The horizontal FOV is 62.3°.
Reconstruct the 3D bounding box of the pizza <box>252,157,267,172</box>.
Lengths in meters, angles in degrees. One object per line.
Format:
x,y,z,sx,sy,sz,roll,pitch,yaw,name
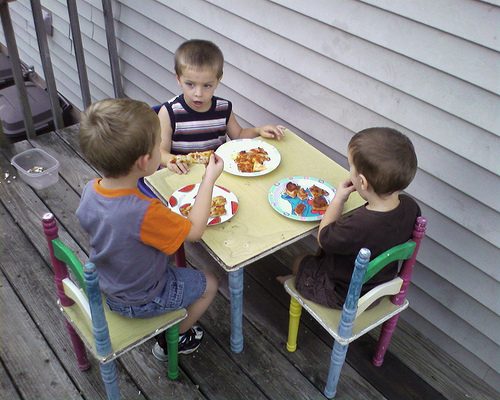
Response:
0.050,-0.192,2.289,0.075,0.027,0.098,3,37,-8,pizza

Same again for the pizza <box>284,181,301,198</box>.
0.220,-0.057,2.153,0.072,0.040,0.092,18,37,12,pizza

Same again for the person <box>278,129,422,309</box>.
0.464,0.162,2.016,0.578,1.021,0.426,27,39,26,person

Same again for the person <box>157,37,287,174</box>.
-0.247,-0.486,2.590,0.737,0.997,0.581,-15,40,-19,person

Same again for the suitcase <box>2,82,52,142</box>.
-2.522,-0.987,4.648,0.500,0.408,0.635,-14,42,-28,suitcase

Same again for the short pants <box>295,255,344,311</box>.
0.333,0.420,2.057,0.206,0.096,0.227,1,53,-7,short pants

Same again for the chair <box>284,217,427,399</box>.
0.529,0.475,2.145,0.574,1.060,0.453,-19,42,-33,chair

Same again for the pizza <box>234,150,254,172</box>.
-0.030,-0.218,2.307,0.099,0.033,0.108,-6,55,-8,pizza

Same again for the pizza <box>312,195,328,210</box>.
0.348,0.018,2.066,0.079,0.039,0.067,10,36,1,pizza

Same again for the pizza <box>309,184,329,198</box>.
0.348,-0.042,2.132,0.053,0.032,0.073,-15,38,-43,pizza

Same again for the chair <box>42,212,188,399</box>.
-0.622,0.546,1.955,0.422,0.845,0.463,-27,46,-36,chair

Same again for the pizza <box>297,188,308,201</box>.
0.272,-0.026,2.130,0.054,0.022,0.055,34,43,30,pizza

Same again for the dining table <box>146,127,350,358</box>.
-0.046,0.156,2.693,1.149,0.914,1.133,-28,54,-23,dining table

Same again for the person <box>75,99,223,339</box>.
-0.468,0.160,1.980,0.595,1.246,0.608,15,24,33,person
